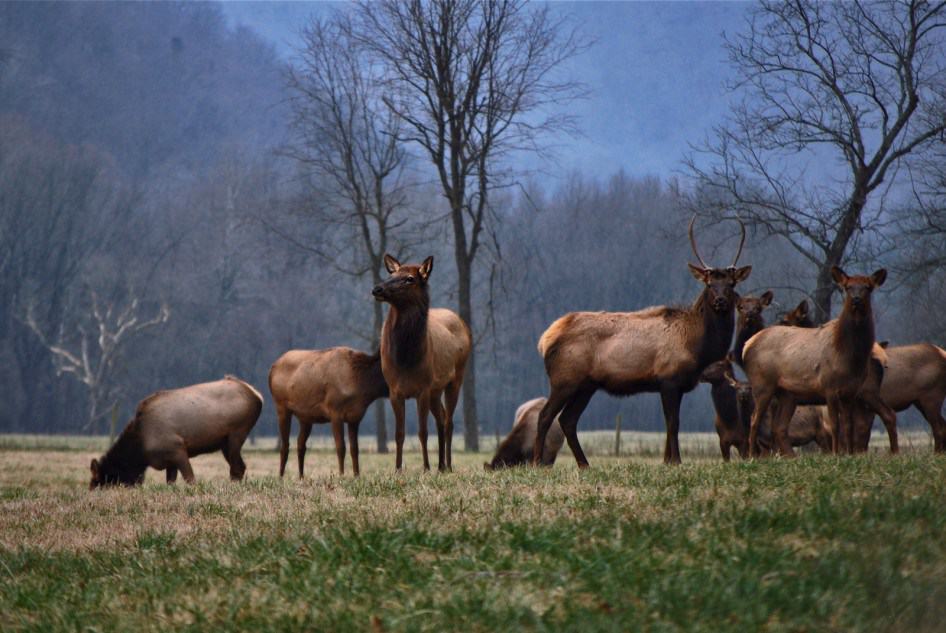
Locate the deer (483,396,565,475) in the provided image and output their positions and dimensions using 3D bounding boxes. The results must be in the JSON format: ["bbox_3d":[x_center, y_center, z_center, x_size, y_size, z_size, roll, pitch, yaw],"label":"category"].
[{"bbox_3d":[1.731,5.180,53.952,1.878,3.389,4.167,6,15,28],"label":"deer"}]

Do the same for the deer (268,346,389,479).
[{"bbox_3d":[-5.524,3.624,53.556,4.179,4.981,1.635,-2,-7,25],"label":"deer"}]

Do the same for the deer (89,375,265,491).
[{"bbox_3d":[-11.080,4.913,53.347,7.383,4.161,2.182,-20,17,-31],"label":"deer"}]
